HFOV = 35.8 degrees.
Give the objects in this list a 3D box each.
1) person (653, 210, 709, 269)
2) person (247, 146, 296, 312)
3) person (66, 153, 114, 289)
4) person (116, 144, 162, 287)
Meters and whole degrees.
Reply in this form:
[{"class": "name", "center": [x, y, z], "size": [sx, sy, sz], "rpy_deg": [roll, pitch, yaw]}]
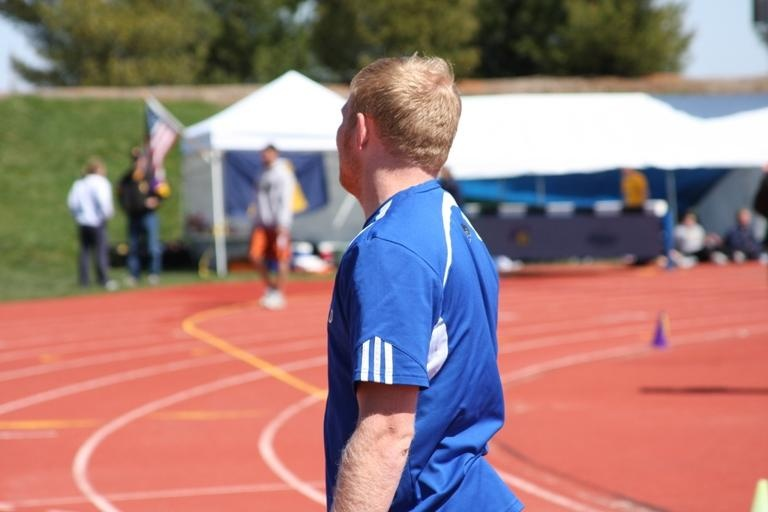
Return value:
[{"class": "person", "center": [4.258, -0.314, 16.587], "size": [0.532, 0.788, 1.905], "rpy_deg": [0, 10, 16]}, {"class": "person", "center": [-1.349, -0.395, 14.369], "size": [0.555, 1.935, 1.186], "rpy_deg": [-3, 9, -5]}, {"class": "person", "center": [-2.685, -0.274, 10.899], "size": [0.392, 1.198, 0.474], "rpy_deg": [-5, 9, -16]}, {"class": "person", "center": [-2.392, -0.383, 11.722], "size": [0.406, 1.295, 0.845], "rpy_deg": [-4, 9, -11]}]
